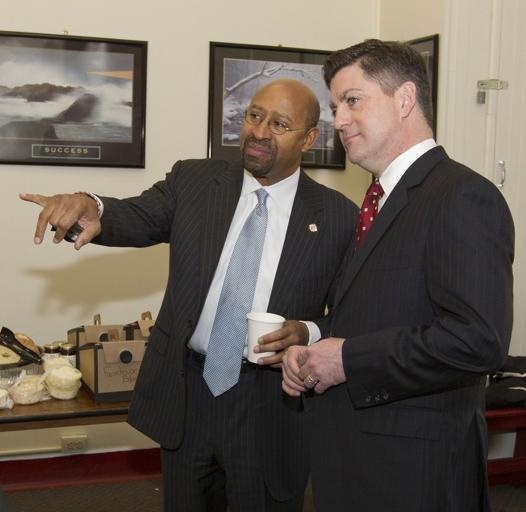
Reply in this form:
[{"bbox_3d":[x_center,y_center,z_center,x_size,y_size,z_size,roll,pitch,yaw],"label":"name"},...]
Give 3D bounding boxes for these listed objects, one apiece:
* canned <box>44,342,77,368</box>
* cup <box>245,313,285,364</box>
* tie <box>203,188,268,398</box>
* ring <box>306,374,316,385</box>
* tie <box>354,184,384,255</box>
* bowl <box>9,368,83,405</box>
[{"bbox_3d":[-0.989,0.467,2.213,0.128,0.127,0.131,1,-2,-2],"label":"canned"},{"bbox_3d":[0.006,0.226,1.260,0.106,0.124,0.106,2,8,0],"label":"cup"},{"bbox_3d":[-0.048,0.062,1.456,0.108,0.746,0.078,13,-25,9],"label":"tie"},{"bbox_3d":[0.111,0.286,1.050,0.020,0.022,0.023,0,2,-14],"label":"ring"},{"bbox_3d":[0.275,-0.088,1.235,0.045,0.223,0.055,18,10,27],"label":"tie"},{"bbox_3d":[-0.939,0.567,1.992,0.209,0.088,0.160,-9,-7,6],"label":"bowl"}]
